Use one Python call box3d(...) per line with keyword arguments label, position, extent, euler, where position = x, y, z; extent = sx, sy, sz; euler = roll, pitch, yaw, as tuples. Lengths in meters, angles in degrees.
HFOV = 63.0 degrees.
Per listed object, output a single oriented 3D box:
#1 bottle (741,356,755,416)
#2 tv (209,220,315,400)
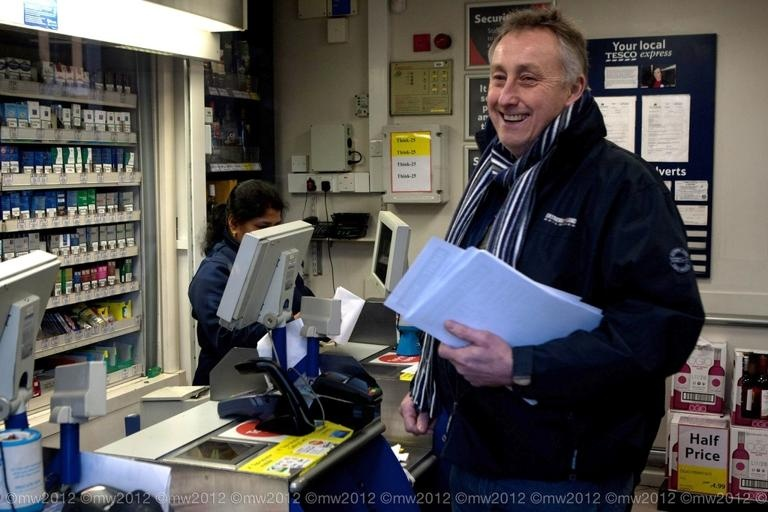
box3d(label="bottle", position=(2.491, 0.879, 4.288), extent=(0.089, 0.410, 0.119), euler=(3, 10, 30))
box3d(label="tv", position=(-0.507, 0.088, 2.810), extent=(0.208, 0.444, 0.505), euler=(4, 11, 32))
